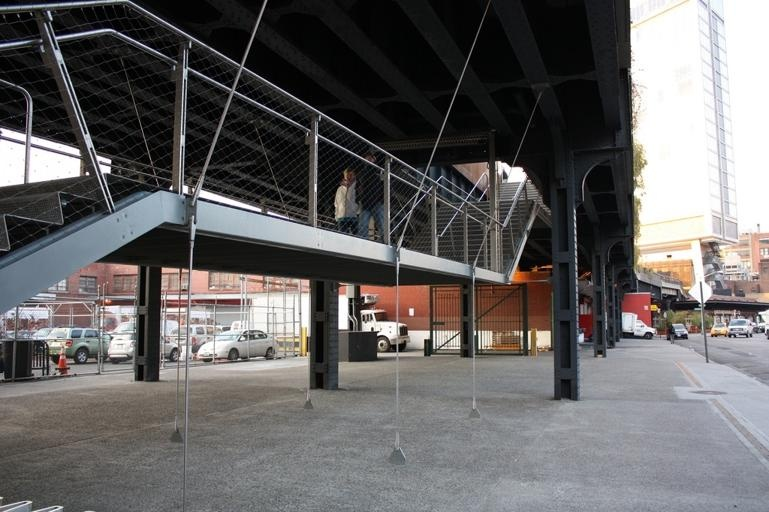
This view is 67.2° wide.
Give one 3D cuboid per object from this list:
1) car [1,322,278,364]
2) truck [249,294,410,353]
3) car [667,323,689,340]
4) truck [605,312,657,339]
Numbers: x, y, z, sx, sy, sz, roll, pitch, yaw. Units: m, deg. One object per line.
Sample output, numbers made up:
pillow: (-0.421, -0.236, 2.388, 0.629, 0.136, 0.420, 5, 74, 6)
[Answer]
car: (-9.532, 3.937, 25.932, 8.961, 1.661, 3.453, -1, -8, -9)
truck: (-3.440, 4.027, 33.450, 8.318, 3.568, 2.356, 0, -9, -22)
car: (26.827, 6.940, 52.808, 1.766, 1.591, 3.183, -8, -18, 26)
truck: (23.355, 6.529, 54.486, 3.870, 2.301, 1.989, -1, -4, 18)
